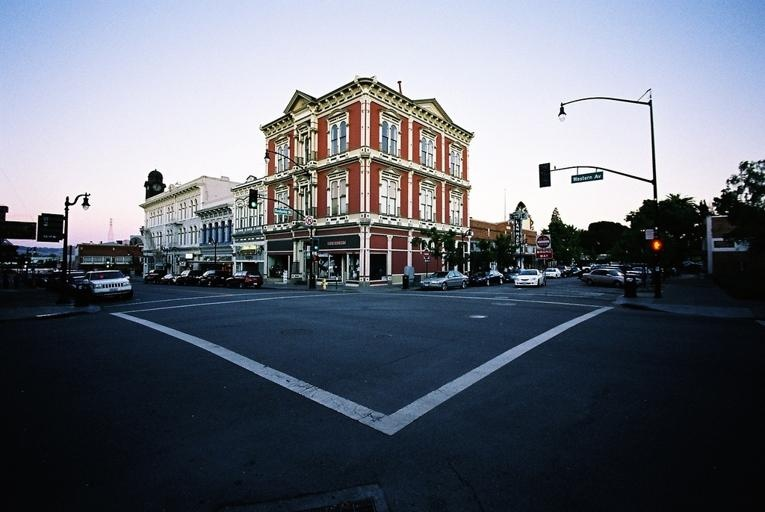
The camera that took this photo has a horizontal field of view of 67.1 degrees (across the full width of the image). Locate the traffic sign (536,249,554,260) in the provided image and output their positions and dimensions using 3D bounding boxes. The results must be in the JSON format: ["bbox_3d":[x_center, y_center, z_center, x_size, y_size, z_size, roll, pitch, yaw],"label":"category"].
[{"bbox_3d":[7.539,-0.110,27.039,0.698,0.465,1.154,-1,-2,12],"label":"traffic sign"}]

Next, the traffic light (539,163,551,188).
[{"bbox_3d":[7.037,-3.483,25.052,0.368,1.022,0.692,-1,-2,8],"label":"traffic light"}]

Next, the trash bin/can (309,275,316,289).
[{"bbox_3d":[-4.628,1.660,37.707,0.343,0.827,0.562,0,-2,-13],"label":"trash bin/can"}]

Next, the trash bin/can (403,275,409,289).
[{"bbox_3d":[1.488,1.700,37.239,0.629,0.903,0.648,0,-5,-1],"label":"trash bin/can"}]

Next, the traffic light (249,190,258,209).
[{"bbox_3d":[-6.792,-3.070,30.426,0.363,1.021,0.892,0,-2,-17],"label":"traffic light"}]

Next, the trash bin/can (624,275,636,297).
[{"bbox_3d":[11.124,1.443,26.052,0.419,0.813,1.415,-2,-2,21],"label":"trash bin/can"}]

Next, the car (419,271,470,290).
[{"bbox_3d":[3.919,1.545,36.505,1.510,1.155,3.180,-3,-3,40],"label":"car"}]

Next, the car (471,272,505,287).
[{"bbox_3d":[7.973,1.728,43.003,1.027,0.687,2.206,-6,-8,41],"label":"car"}]

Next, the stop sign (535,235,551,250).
[{"bbox_3d":[7.392,-0.646,26.706,0.545,0.662,0.606,-2,-2,27],"label":"stop sign"}]
